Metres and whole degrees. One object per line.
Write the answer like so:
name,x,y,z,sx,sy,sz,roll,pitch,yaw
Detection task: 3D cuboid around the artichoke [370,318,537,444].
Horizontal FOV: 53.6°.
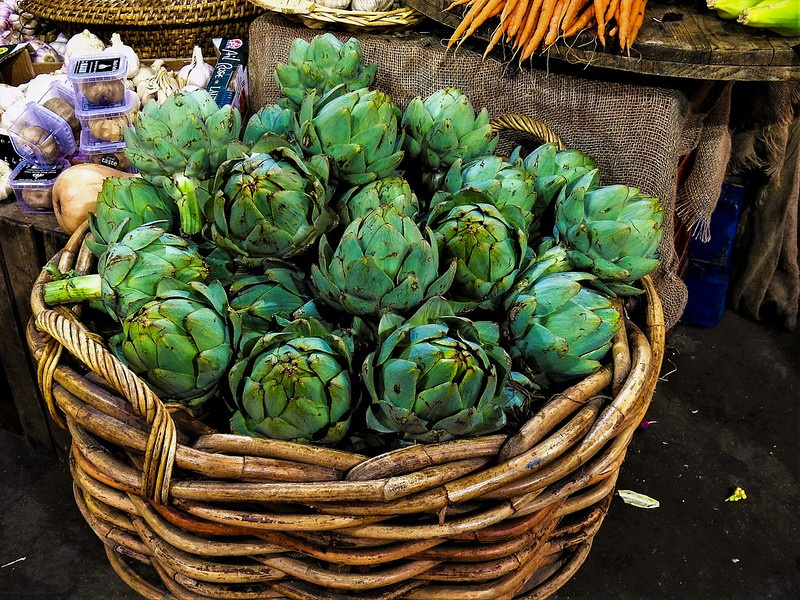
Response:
artichoke,0.081,0.132,1.591,0.258,0.172,0.324,1,56,-11

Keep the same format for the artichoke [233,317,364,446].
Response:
artichoke,-0.202,0.176,1.552,0.205,0.246,0.263,2,55,-11

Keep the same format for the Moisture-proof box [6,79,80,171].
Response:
Moisture-proof box,-1.065,-0.527,2.412,0.199,0.140,0.300,-35,41,4

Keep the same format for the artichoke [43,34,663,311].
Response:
artichoke,-0.039,-0.214,1.781,0.983,0.680,0.421,-1,72,4

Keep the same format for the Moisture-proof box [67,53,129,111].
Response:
Moisture-proof box,-0.907,-0.671,2.420,0.193,0.168,0.252,-8,36,-15

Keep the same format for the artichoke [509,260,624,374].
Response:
artichoke,0.369,0.049,1.772,0.225,0.205,0.245,6,46,33

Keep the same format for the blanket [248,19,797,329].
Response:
blanket,0.518,-0.681,2.565,1.228,0.904,0.965,10,29,14

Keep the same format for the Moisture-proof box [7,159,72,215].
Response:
Moisture-proof box,-1.041,-0.327,2.286,0.137,0.111,0.188,-3,30,-10
